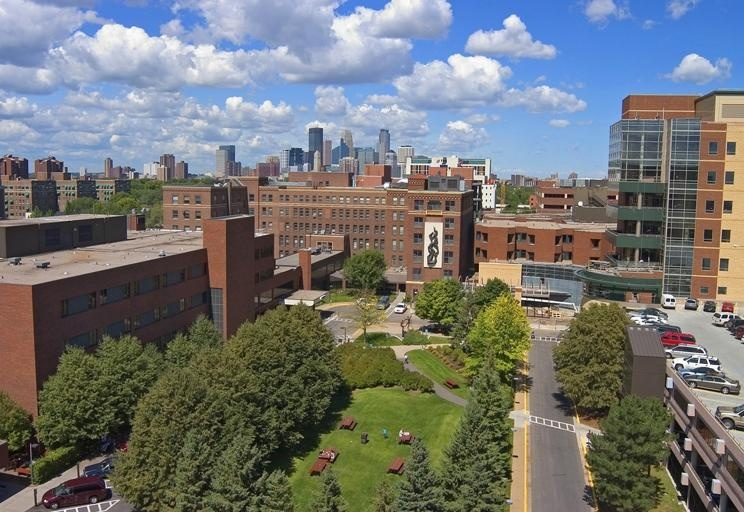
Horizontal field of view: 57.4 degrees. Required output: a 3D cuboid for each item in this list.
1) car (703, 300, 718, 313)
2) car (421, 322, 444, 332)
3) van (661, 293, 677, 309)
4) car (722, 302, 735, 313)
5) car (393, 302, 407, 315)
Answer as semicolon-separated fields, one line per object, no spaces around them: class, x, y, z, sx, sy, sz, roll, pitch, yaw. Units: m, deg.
car;59.915;8.938;120.529;1.667;0.778;2.406;1;18;30
car;11.175;13.386;128.444;3.668;1.093;4.773;-4;8;-34
van;54.486;8.318;124.975;1.729;1.592;3.074;4;17;24
car;61.974;8.951;118.410;1.286;1.151;2.284;3;10;40
car;5.918;10.764;141.548;2.074;1.775;4.088;3;7;15
